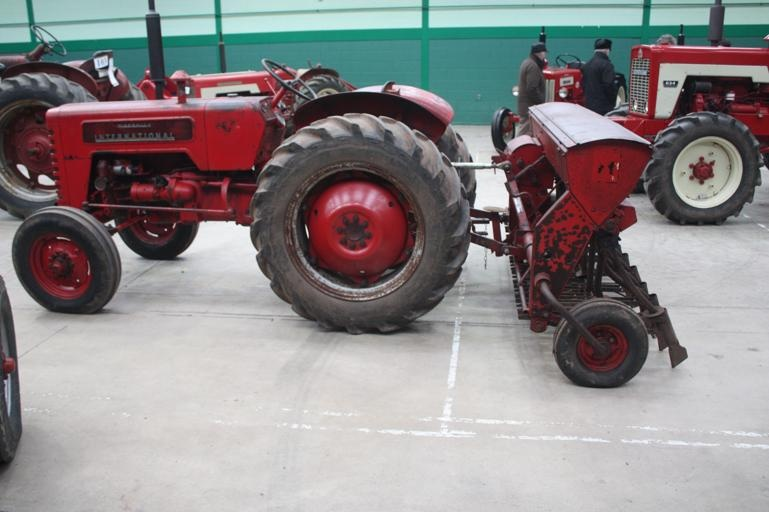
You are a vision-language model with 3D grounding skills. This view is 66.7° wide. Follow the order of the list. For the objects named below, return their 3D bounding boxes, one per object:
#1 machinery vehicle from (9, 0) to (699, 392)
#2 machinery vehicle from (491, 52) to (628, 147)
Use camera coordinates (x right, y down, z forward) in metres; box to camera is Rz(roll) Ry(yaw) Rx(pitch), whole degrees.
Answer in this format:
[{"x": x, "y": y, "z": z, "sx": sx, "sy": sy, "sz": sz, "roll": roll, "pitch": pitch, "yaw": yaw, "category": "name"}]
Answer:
[{"x": -0.574, "y": -0.362, "z": 4.809, "sx": 4.884, "sy": 2.367, "sz": 2.807, "roll": 3, "pitch": 16, "yaw": 6, "category": "machinery vehicle"}, {"x": 3.517, "y": -3.059, "z": 11.598, "sx": 2.082, "sy": 1.681, "sz": 3.104, "roll": 3, "pitch": 20, "yaw": 30, "category": "machinery vehicle"}]
